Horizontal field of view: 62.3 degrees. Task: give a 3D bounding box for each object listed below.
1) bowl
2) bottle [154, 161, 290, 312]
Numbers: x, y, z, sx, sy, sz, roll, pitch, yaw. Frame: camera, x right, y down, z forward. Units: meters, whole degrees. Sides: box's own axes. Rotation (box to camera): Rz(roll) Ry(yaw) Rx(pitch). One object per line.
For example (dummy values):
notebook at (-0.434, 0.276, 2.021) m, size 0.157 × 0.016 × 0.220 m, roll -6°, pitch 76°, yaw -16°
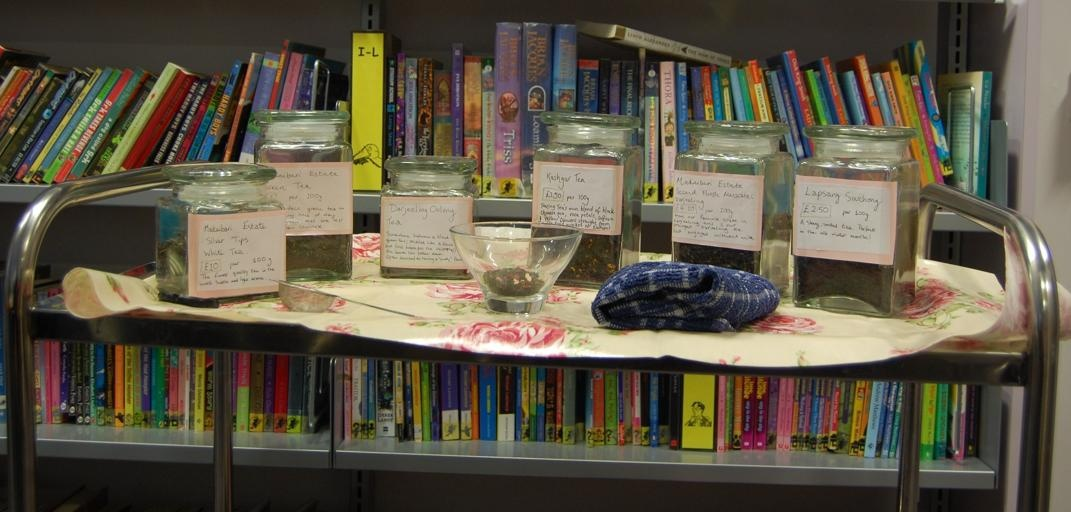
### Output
bowl at (-0.045, 0.018, 2.061) m, size 0.267 × 0.139 × 0.261 m, roll 2°, pitch 2°, yaw 0°
bottle at (-0.791, -0.056, 2.191) m, size 0.360 × 0.320 × 0.328 m, roll 4°, pitch 9°, yaw -2°
